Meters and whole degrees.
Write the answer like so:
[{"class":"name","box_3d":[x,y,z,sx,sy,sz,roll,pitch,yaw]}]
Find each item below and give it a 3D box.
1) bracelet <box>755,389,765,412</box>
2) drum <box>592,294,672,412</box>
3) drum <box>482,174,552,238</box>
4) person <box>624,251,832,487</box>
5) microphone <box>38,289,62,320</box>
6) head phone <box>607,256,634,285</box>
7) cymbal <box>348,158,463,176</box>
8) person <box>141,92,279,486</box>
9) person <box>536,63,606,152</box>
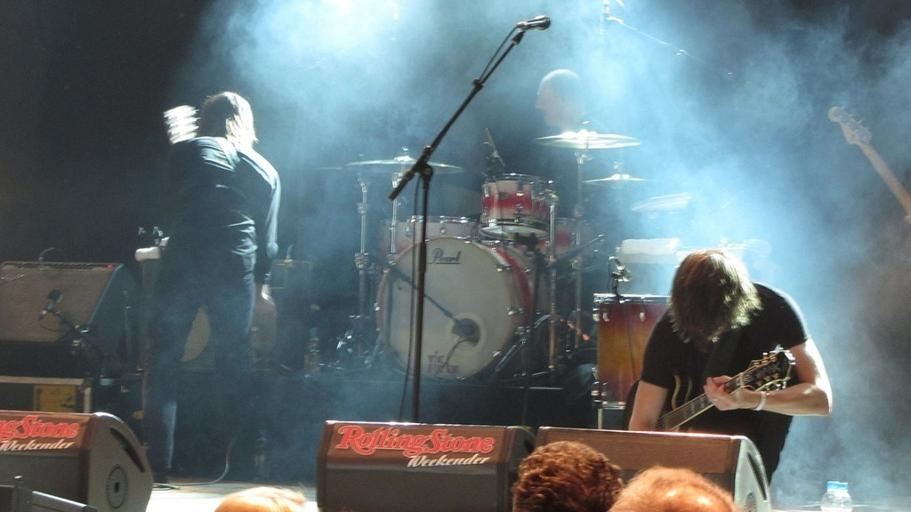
[{"class":"bracelet","box_3d":[2.238,1.053,7.086,0.032,0.116,0.094,12,-7,-9]},{"class":"drum","box_3d":[1.502,0.791,8.619,0.973,0.909,0.902,1,-1,3]},{"class":"drum","box_3d":[0.681,-0.529,9.793,0.749,0.461,0.694,3,-1,0]},{"class":"person","box_3d":[2.022,1.131,7.445,1.725,2.085,1.178,4,10,11]},{"class":"microphone","box_3d":[-3.661,0.434,8.739,0.174,0.289,0.162,5,-1,-20]},{"class":"head phone","box_3d":[1.512,0.139,8.901,0.247,0.307,0.352,-3,0,2]},{"class":"cymbal","box_3d":[-0.566,-0.889,9.681,0.519,0.035,0.517,-3,-4,37]},{"class":"person","box_3d":[-2.218,0.252,8.832,1.053,3.595,0.533,5,-1,-20]},{"class":"person","box_3d":[1.224,-1.557,10.305,0.653,0.840,0.422,-1,-15,6]}]
